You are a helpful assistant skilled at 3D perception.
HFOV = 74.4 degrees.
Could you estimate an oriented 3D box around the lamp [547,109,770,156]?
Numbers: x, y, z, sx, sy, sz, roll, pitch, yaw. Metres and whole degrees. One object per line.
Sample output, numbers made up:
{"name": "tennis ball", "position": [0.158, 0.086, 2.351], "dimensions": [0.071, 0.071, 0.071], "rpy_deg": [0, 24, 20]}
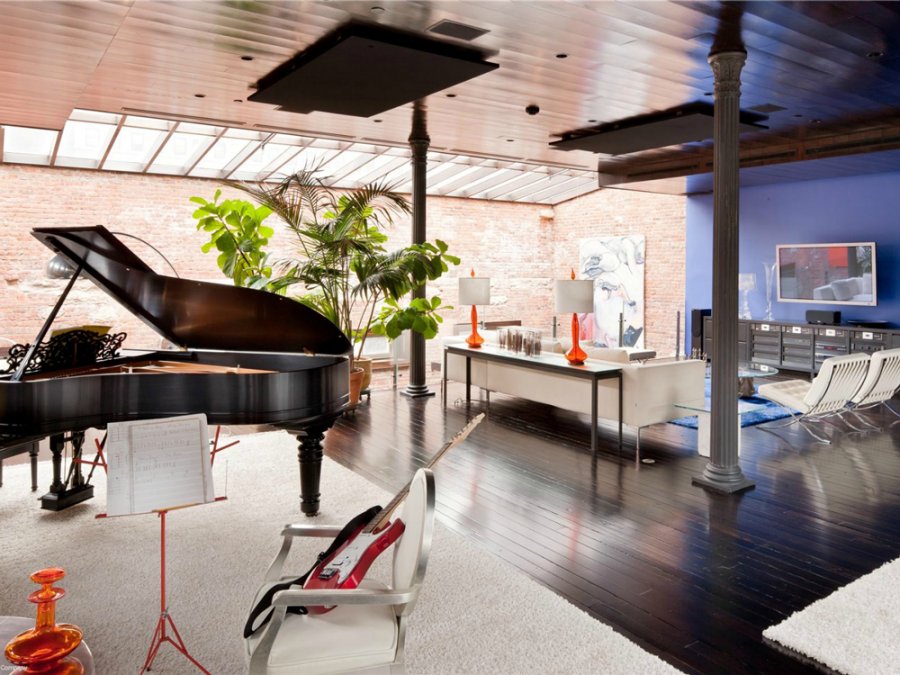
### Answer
{"name": "lamp", "position": [2.409, -2.609, 7.510], "dimensions": [0.941, 0.266, 2.071], "rpy_deg": [-7, 11, -40]}

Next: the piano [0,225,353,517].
{"name": "piano", "position": [-2.657, 0.121, 4.764], "dimensions": [3.416, 1.743, 2.264], "rpy_deg": [2, 0, 22]}

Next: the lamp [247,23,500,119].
{"name": "lamp", "position": [-0.667, -2.427, 5.453], "dimensions": [1.423, 0.330, 1.878], "rpy_deg": [-7, 10, -37]}

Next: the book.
{"name": "book", "position": [-1.456, 0.630, 2.957], "dimensions": [0.659, 0.476, 0.139], "rpy_deg": [-1, -13, -24]}
